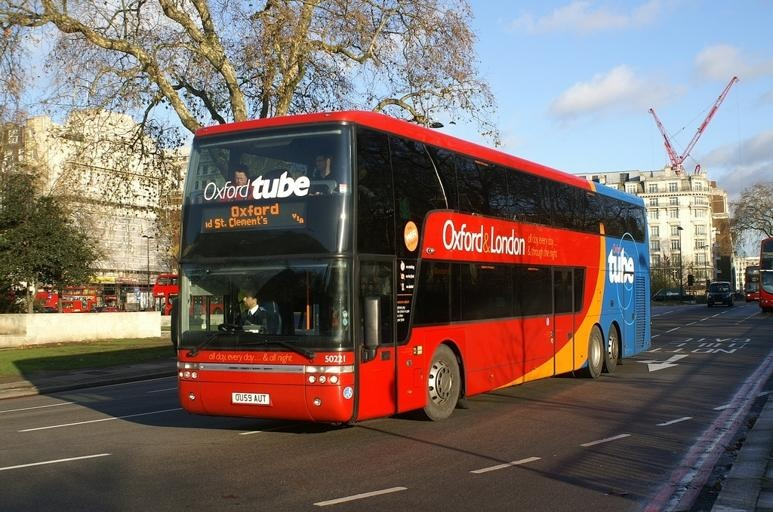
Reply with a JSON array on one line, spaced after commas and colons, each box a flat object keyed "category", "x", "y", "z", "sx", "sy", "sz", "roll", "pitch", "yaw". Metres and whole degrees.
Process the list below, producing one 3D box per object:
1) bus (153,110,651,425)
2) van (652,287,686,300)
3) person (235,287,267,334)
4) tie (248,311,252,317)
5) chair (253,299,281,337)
[{"category": "bus", "x": 2.127, "y": 0.659, "z": 18.386, "sx": 4.612, "sy": 6.000, "sz": 16.148, "roll": -3, "pitch": -5, "yaw": 36}, {"category": "van", "x": 43.337, "y": 5.856, "z": 101.025, "sx": 1.621, "sy": 1.923, "sz": 7.085, "roll": -5, "pitch": -8, "yaw": 35}, {"category": "person", "x": -2.480, "y": 0.997, "z": 12.189, "sx": 0.491, "sy": 1.047, "sz": 0.365, "roll": -17, "pitch": -16, "yaw": 25}, {"category": "tie", "x": -2.532, "y": 1.083, "z": 12.215, "sx": 0.085, "sy": 0.095, "sz": 0.026, "roll": -1, "pitch": -7, "yaw": -5}, {"category": "chair", "x": -2.082, "y": 1.146, "z": 12.319, "sx": 0.402, "sy": 0.711, "sz": 0.602, "roll": -1, "pitch": -3, "yaw": 10}]
